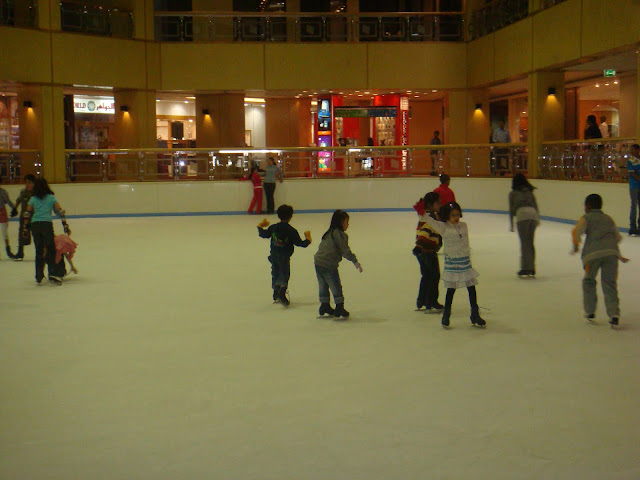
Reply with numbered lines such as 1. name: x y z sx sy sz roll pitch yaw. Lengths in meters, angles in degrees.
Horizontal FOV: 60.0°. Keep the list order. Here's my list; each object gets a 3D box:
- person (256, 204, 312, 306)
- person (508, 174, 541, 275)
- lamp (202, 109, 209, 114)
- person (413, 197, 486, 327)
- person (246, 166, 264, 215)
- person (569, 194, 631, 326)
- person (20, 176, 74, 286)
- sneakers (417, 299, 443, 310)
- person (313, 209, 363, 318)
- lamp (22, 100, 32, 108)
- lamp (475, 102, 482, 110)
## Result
1. person: -0.469 0.180 7.145 0.625 1.290 1.495 -1 7 -7
2. person: 3.209 -0.234 8.680 0.446 1.613 0.487 2 7 21
3. lamp: -5.066 -5.590 24.477 0.306 0.317 0.172 0 -4 -3
4. person: 1.511 0.273 6.122 0.665 1.360 0.666 1 7 17
5. person: -2.247 -1.779 19.348 0.523 1.695 0.446 -2 6 -9
6. person: 3.106 0.209 6.144 0.547 1.421 1.007 3 8 29
7. person: -4.301 -0.152 8.718 0.534 1.623 0.597 -6 8 -41
8. sneakers: 1.342 0.783 6.771 0.362 0.175 0.131 -1 1 6
9. person: 0.194 0.285 6.424 0.522 1.275 0.470 1 6 13
10. lamp: -10.581 -4.882 19.975 0.525 0.281 0.101 4 8 30
11. lamp: 6.593 -5.527 22.939 0.332 0.366 0.185 0 9 5
